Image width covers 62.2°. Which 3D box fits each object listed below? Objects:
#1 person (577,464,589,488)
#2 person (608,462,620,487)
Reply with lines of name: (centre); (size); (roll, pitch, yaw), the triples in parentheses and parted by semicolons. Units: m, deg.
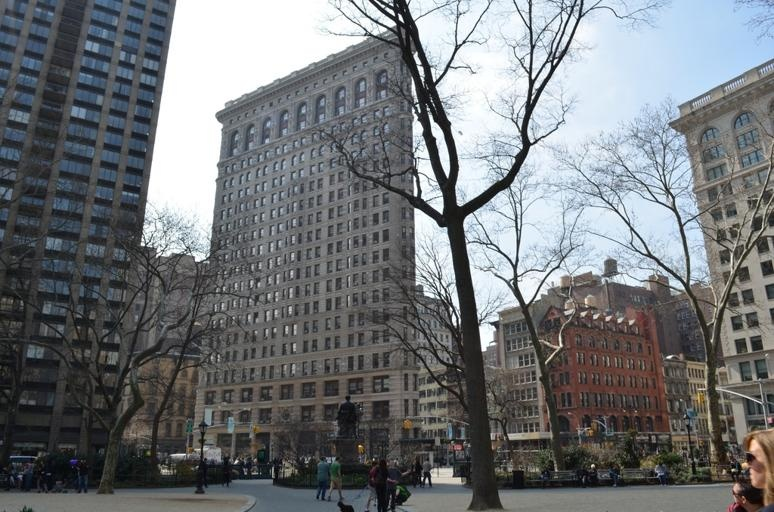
person: (16.159, 18.091, 52.585); (0.774, 1.508, 1.503); (-4, -23, 5)
person: (18.982, 18.276, 53.236); (0.768, 1.472, 1.272); (-9, -24, 17)
